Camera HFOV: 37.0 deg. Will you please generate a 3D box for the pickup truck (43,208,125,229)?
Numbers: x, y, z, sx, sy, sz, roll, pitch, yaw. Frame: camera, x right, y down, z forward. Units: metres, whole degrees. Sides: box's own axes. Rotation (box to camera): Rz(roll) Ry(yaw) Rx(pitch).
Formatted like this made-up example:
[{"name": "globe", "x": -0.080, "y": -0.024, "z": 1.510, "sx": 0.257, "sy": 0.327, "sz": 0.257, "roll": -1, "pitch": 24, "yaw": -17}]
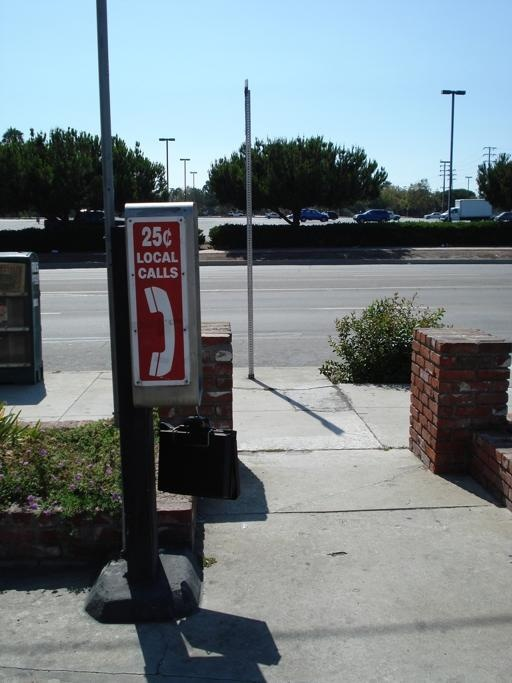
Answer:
[{"name": "pickup truck", "x": -10.600, "y": -7.405, "z": 45.585, "sx": 2.973, "sy": 1.084, "sz": 11.895, "roll": -3, "pitch": 9, "yaw": -10}]
